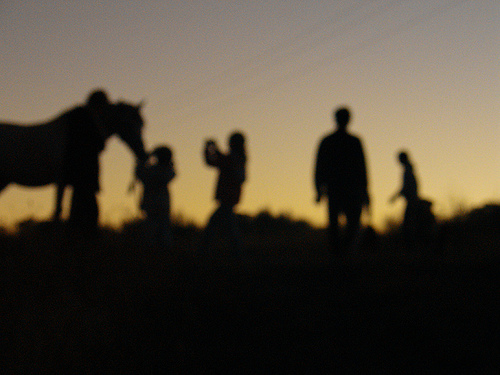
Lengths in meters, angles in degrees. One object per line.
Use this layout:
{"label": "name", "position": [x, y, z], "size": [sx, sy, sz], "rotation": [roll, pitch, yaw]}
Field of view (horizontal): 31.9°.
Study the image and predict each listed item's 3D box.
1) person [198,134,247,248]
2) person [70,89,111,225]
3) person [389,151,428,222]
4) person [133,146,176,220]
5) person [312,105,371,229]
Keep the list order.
{"label": "person", "position": [-0.356, 0.031, 12.438], "size": [0.673, 1.613, 0.416], "rotation": [3, -7, -16]}
{"label": "person", "position": [-2.361, -0.436, 12.779], "size": [0.378, 2.006, 0.711], "rotation": [2, -6, -6]}
{"label": "person", "position": [2.448, -0.057, 13.546], "size": [0.457, 1.041, 0.521], "rotation": [5, -8, -36]}
{"label": "person", "position": [-1.434, -0.060, 12.924], "size": [0.616, 1.111, 0.564], "rotation": [1, -6, -5]}
{"label": "person", "position": [1.292, -0.256, 12.325], "size": [0.794, 1.690, 0.231], "rotation": [0, -6, 7]}
